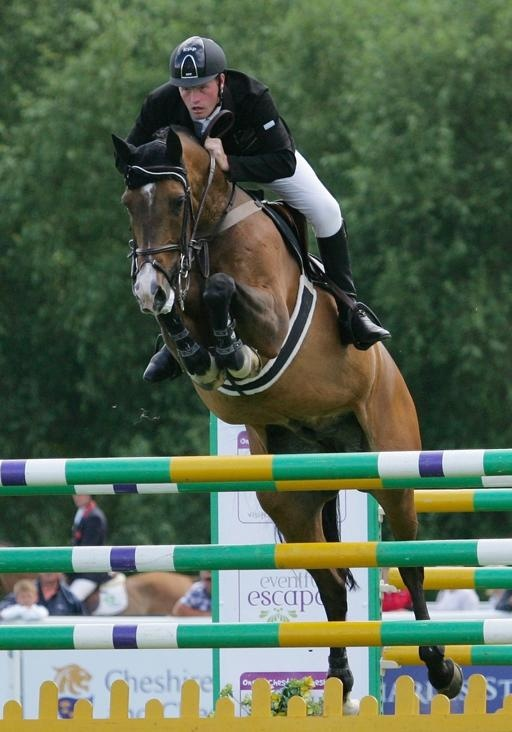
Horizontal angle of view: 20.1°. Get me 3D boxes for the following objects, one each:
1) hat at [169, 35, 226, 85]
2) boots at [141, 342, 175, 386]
[{"bbox_3d":[-0.216,-1.213,5.822,0.176,0.130,0.231,-4,28,18],"label":"hat"},{"bbox_3d":[-0.382,-0.015,6.277,0.078,0.095,0.256,-20,11,31],"label":"boots"}]
